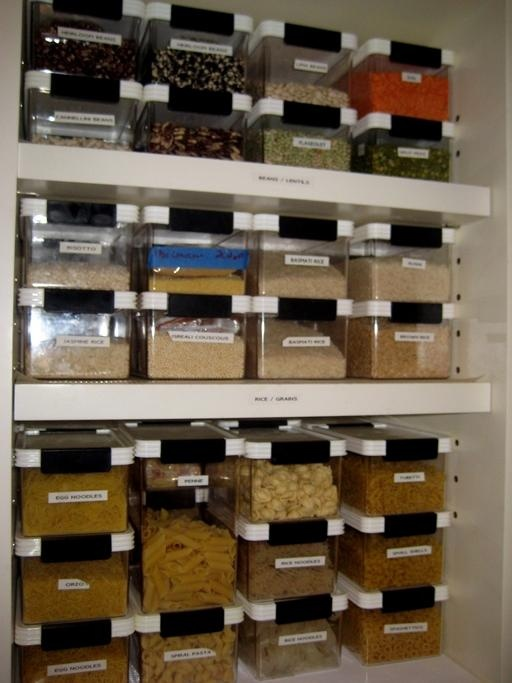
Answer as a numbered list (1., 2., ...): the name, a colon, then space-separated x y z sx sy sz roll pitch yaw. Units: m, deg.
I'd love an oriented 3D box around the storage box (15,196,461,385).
1. storage box: 0.034 -0.091 1.315 0.845 0.374 0.159 -4 9 -18
